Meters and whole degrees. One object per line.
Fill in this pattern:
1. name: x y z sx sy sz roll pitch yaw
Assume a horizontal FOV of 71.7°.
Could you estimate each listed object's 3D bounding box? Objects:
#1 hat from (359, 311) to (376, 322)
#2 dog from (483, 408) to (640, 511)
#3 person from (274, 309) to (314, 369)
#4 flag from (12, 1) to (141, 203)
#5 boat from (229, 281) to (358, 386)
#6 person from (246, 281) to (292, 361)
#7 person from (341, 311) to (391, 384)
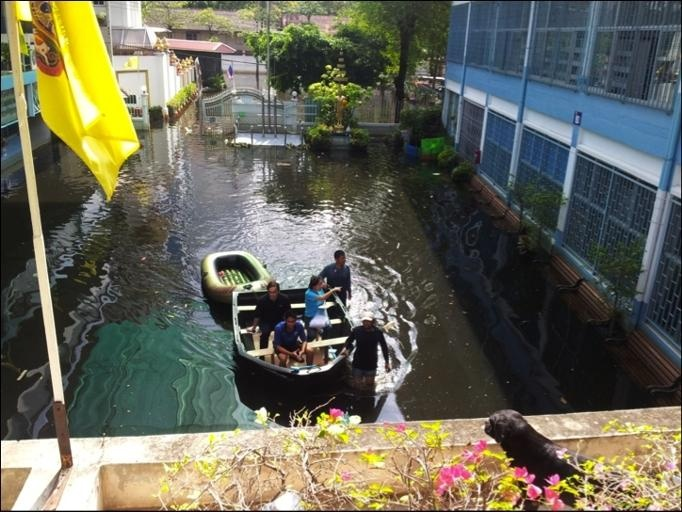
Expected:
1. hat: 0.518 1.213 9.418 0.366 0.192 0.574 1 1 10
2. dog: 1.954 1.801 4.600 0.383 0.741 1.412 -42 58 -20
3. person: -0.848 1.520 8.431 0.591 1.136 0.812 -8 29 -22
4. flag: -2.516 -1.498 4.691 0.854 1.789 0.850 -10 11 -42
5. boat: -0.859 1.726 9.224 2.260 0.942 3.439 -4 20 -14
6. person: -1.279 1.275 8.838 0.787 1.494 0.853 1 13 -6
7. person: 0.431 1.826 8.199 0.871 1.689 0.485 1 12 -6
